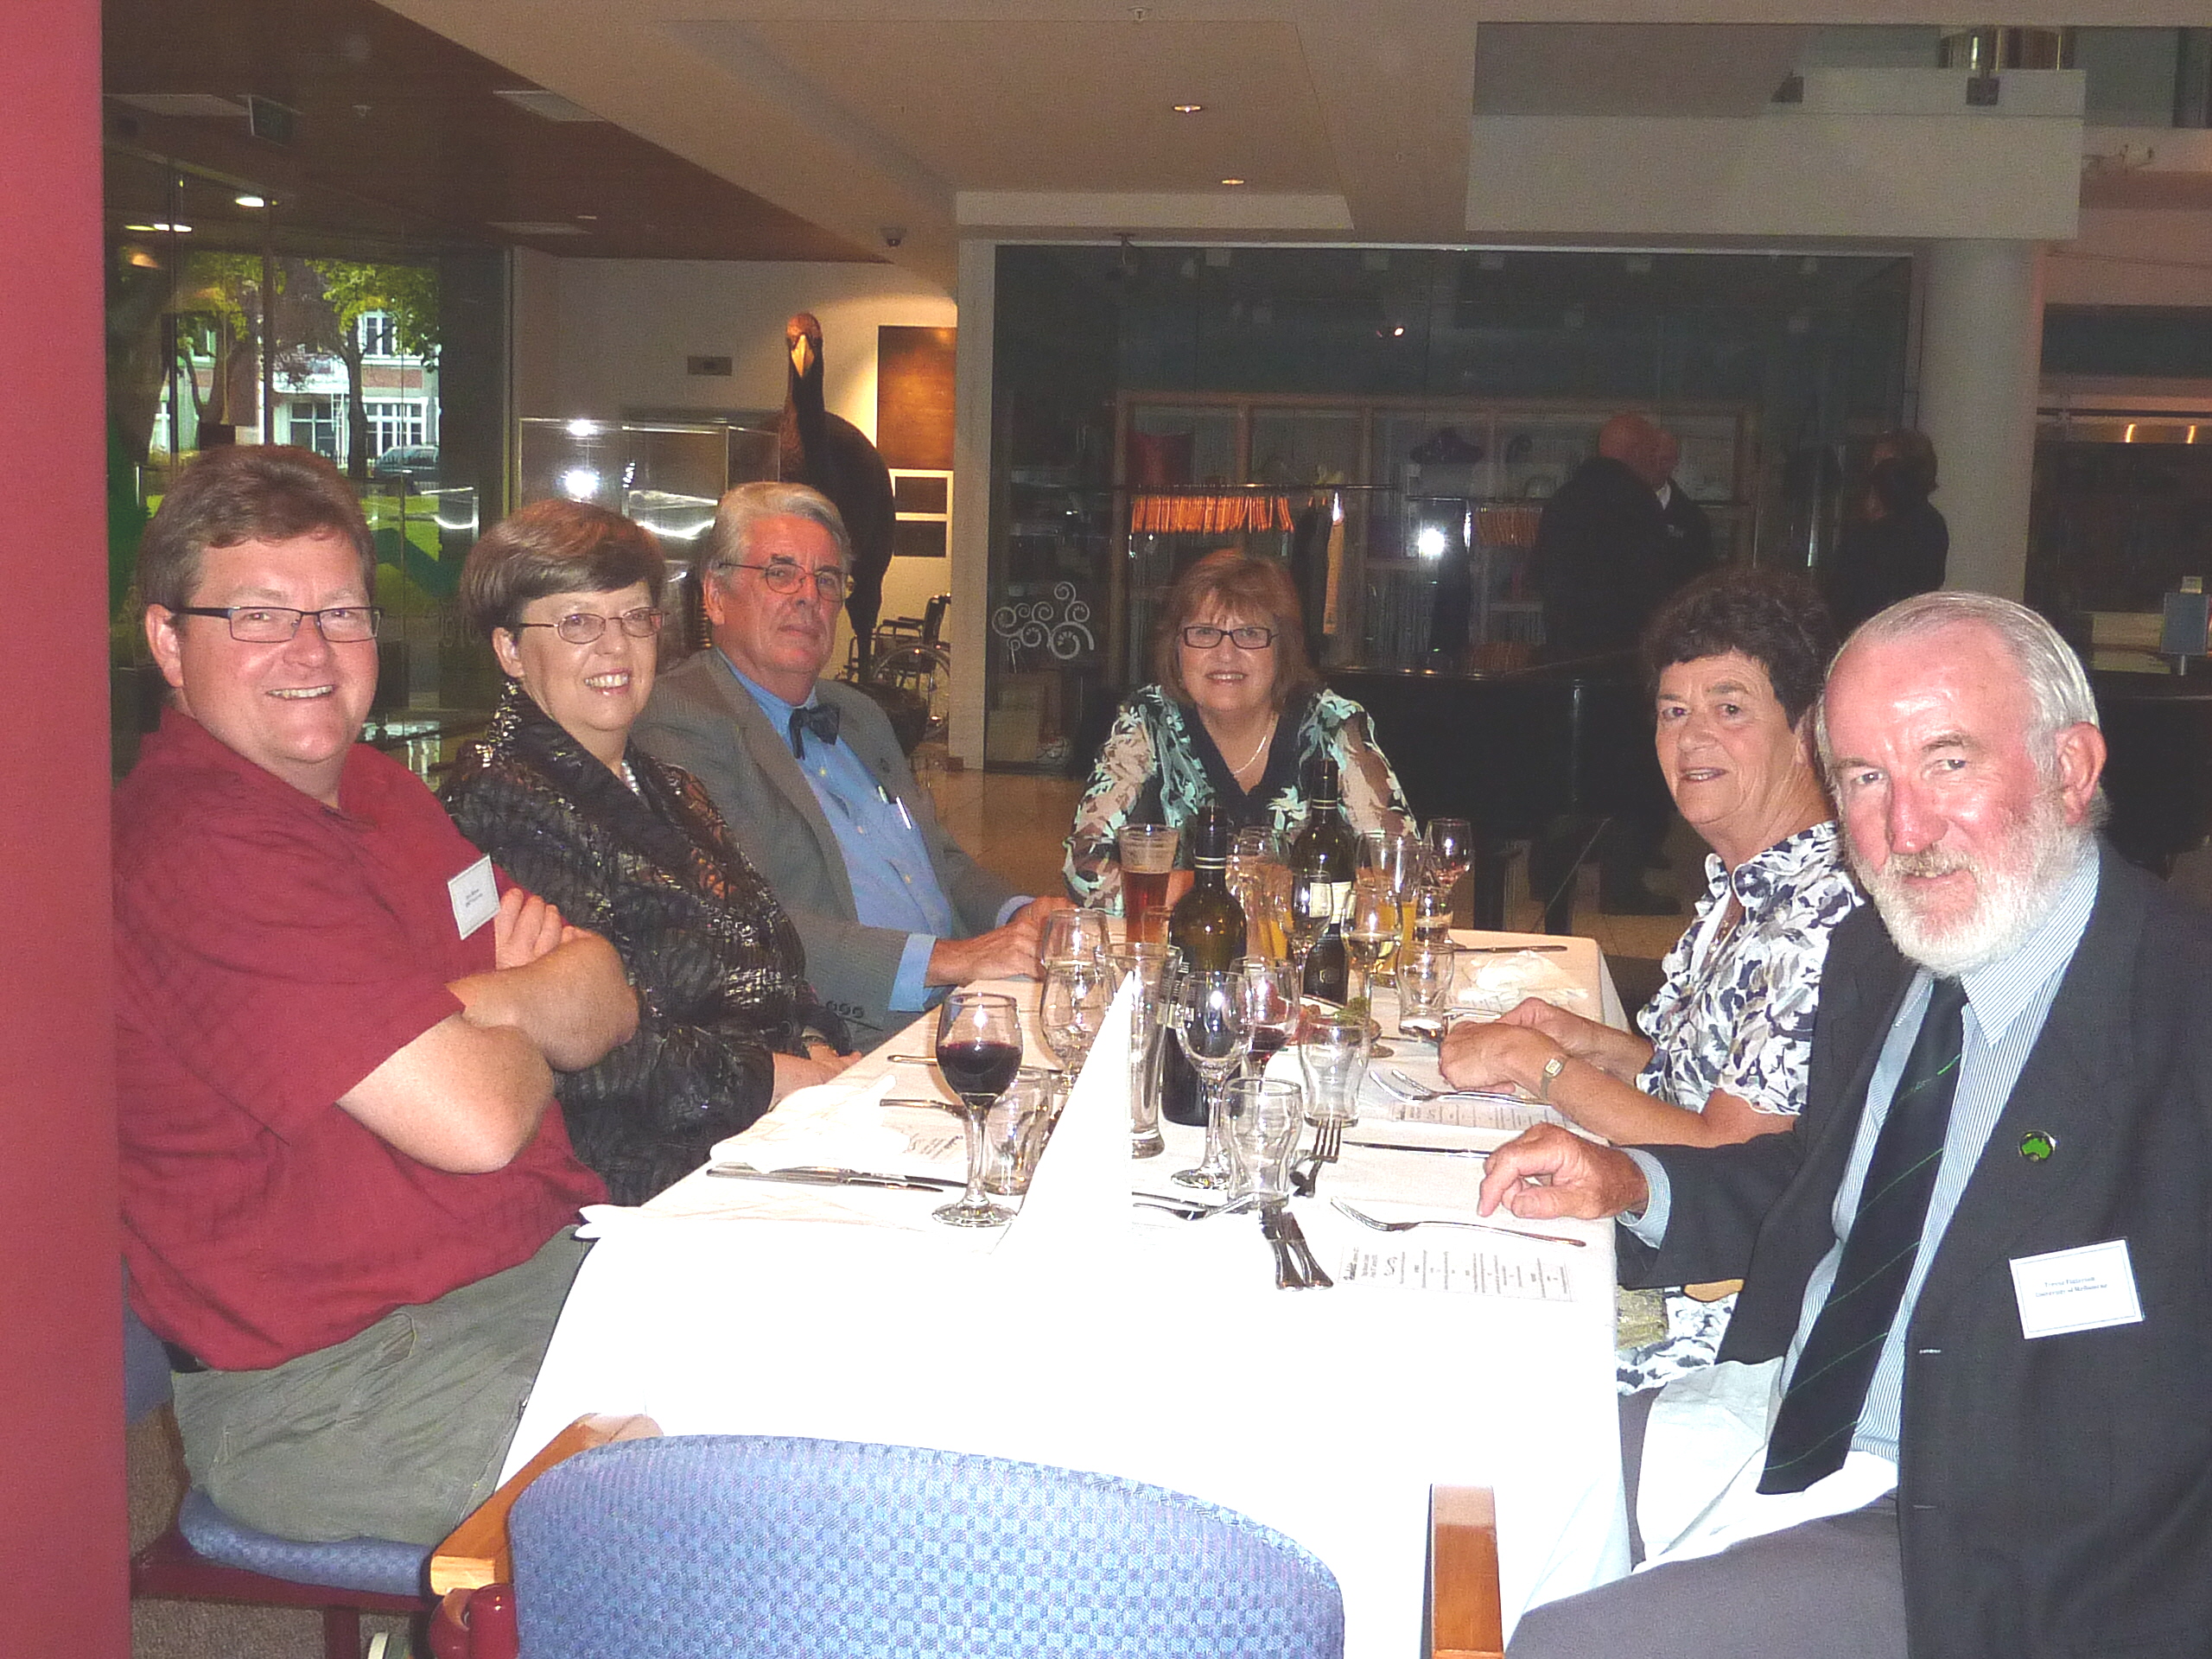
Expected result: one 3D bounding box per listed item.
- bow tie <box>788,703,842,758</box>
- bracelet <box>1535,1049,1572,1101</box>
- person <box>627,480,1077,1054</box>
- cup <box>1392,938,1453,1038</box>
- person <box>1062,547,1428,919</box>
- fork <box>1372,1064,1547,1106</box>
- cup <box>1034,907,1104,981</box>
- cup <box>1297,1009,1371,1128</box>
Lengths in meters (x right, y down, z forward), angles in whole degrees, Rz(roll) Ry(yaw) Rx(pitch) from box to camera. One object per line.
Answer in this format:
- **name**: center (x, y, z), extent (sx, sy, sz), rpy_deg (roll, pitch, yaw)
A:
- **bow tie**: center (-0.594, -0.199, 3.890), extent (0.093, 0.039, 0.098), rpy_deg (6, 16, 21)
- **bracelet**: center (0.629, 0.350, 2.700), extent (0.048, 0.055, 0.054), rpy_deg (8, 6, 3)
- **person**: center (-0.568, -0.231, 4.183), extent (0.990, 1.478, 0.992), rpy_deg (-2, 8, 14)
- **cup**: center (0.519, 0.271, 3.190), extent (0.117, 0.198, 0.123), rpy_deg (-1, -4, 0)
- **person**: center (0.288, -0.206, 4.555), extent (0.811, 1.379, 0.756), rpy_deg (-1, 7, 1)
- **fork**: center (0.515, 0.371, 2.743), extent (0.146, 0.023, 0.028), rpy_deg (9, 35, 8)
- **cup**: center (-0.041, 0.162, 2.707), extent (0.109, 0.132, 0.132), rpy_deg (1, -5, 1)
- **cup**: center (0.296, 0.319, 2.576), extent (0.125, 0.162, 0.131), rpy_deg (-1, 2, 0)
